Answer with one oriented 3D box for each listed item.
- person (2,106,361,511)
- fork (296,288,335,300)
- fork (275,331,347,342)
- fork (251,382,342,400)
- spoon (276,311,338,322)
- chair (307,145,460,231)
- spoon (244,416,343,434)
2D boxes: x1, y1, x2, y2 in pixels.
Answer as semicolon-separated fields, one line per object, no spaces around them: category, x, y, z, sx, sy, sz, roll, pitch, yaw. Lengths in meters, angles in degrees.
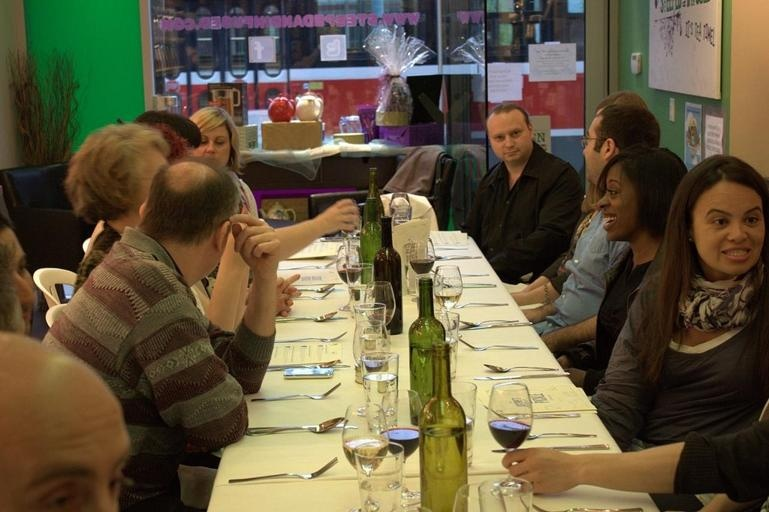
person;-0.641;-0.070;2.405;1.116;1.930;0.800;-5;18;-22
fork;-0.337;0.186;2.861;0.131;0.024;0.057;0;27;4
fork;-0.286;0.318;2.332;0.299;0.045;0.044;-4;27;7
fork;-0.281;0.434;1.903;0.206;0.039;0.035;-2;20;0
spoon;-0.334;0.262;2.550;0.187;0.030;0.035;-1;35;6
chair;0.010;-0.655;6.421;1.270;1.326;0.956;0;13;-1
spoon;-0.255;0.483;1.694;0.217;0.040;0.045;-1;16;3
